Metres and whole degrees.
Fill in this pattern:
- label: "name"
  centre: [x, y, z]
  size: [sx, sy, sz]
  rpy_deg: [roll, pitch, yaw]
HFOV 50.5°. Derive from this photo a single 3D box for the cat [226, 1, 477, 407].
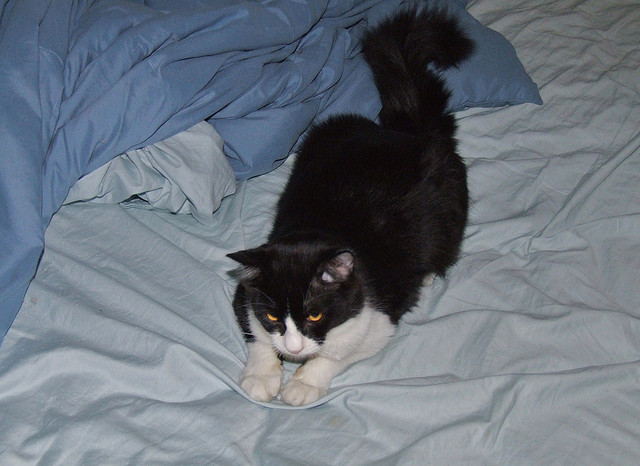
- label: "cat"
  centre: [0.292, -0.122, 3.186]
  size: [0.803, 0.746, 1.859]
  rpy_deg: [22, 72, 23]
